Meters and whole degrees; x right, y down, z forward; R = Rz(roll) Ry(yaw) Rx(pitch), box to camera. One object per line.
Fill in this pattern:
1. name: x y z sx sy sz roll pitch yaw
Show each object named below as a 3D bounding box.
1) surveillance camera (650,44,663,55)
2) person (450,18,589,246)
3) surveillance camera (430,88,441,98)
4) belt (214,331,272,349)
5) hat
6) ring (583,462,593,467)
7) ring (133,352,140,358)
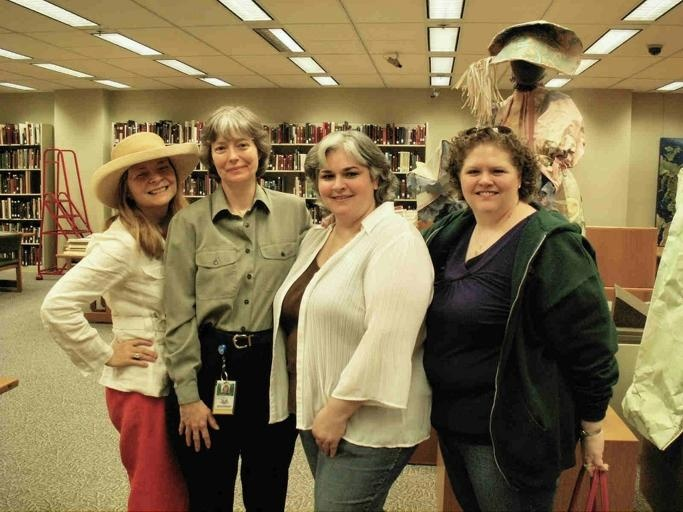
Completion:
1. surveillance camera: 3.824 -2.452 6.875 0.117 0.071 0.110 0 -2 1
2. person: 0.946 -0.506 3.042 0.672 1.313 0.580 6 13 42
3. surveillance camera: 1.501 -2.534 9.050 0.157 0.146 0.377 -6 18 9
4. belt: -0.427 0.369 2.466 0.237 0.074 0.032 -2 8 -7
5. hat: -0.907 -0.427 2.653 0.391 0.167 0.425 -25 -17 -1
6. ring: 0.981 0.828 2.258 0.026 0.009 0.025 -38 22 19
7. ring: -0.891 0.429 2.443 0.023 0.009 0.017 -14 -37 21
